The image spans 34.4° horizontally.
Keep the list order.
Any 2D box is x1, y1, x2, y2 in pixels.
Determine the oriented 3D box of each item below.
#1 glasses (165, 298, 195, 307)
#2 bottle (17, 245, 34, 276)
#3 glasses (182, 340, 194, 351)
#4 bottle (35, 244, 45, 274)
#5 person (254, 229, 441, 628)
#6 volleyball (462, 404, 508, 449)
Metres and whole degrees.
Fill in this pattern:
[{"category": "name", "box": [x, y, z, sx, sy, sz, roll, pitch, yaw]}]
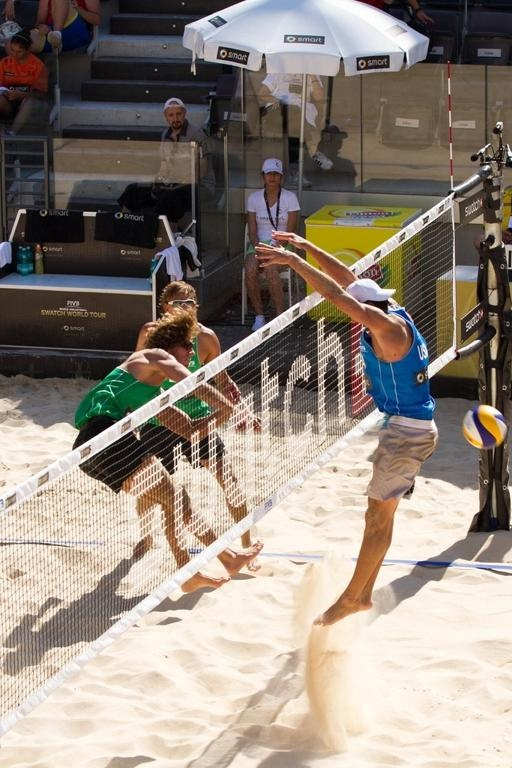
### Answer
[{"category": "glasses", "box": [-0.469, -0.492, 4.972, 0.098, 0.027, 0.095, -3, -3, 33]}, {"category": "bottle", "box": [-2.414, -1.301, 8.642, 0.176, 0.304, 0.088, -4, 12, -12]}, {"category": "glasses", "box": [-0.347, -0.189, 4.117, 0.044, 0.038, 0.050, 1, 18, -1]}, {"category": "bottle", "box": [-2.282, -1.316, 8.682, 0.100, 0.306, 0.072, -6, 12, -19]}, {"category": "person", "box": [0.451, 0.227, 3.576, 0.443, 1.604, 0.770, 7, 14, 38]}, {"category": "volleyball", "box": [1.224, 0.231, 4.425, 0.238, 0.253, 0.235, 1, 17, 22]}]
